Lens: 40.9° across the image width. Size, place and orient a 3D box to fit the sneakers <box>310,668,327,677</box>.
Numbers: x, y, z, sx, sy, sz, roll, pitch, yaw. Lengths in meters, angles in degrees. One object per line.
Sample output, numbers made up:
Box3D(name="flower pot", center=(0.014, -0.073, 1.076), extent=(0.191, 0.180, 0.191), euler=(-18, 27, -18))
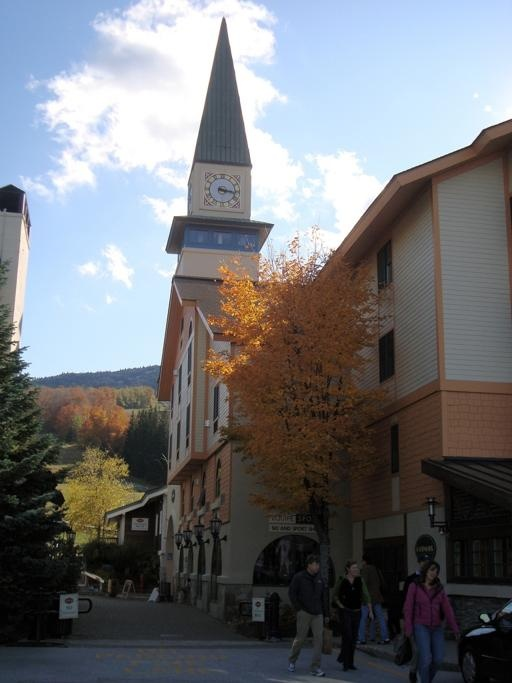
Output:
Box3D(name="sneakers", center=(0.777, 4.165, 8.640), extent=(0.089, 0.112, 0.238), euler=(12, -25, -30))

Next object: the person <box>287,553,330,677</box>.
Box3D(name="person", center=(0.700, 3.681, 9.239), extent=(0.524, 1.517, 1.177), euler=(0, -16, 3))

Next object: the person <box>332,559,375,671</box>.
Box3D(name="person", center=(1.303, 3.880, 9.715), extent=(0.605, 1.421, 0.410), euler=(11, -16, -28))

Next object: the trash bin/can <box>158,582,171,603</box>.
Box3D(name="trash bin/can", center=(-4.497, 12.041, 33.068), extent=(0.707, 0.981, 0.699), euler=(10, -16, -39))

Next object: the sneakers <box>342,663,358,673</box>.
Box3D(name="sneakers", center=(1.295, 4.522, 9.479), extent=(0.237, 0.172, 0.085), euler=(0, -4, -8))
